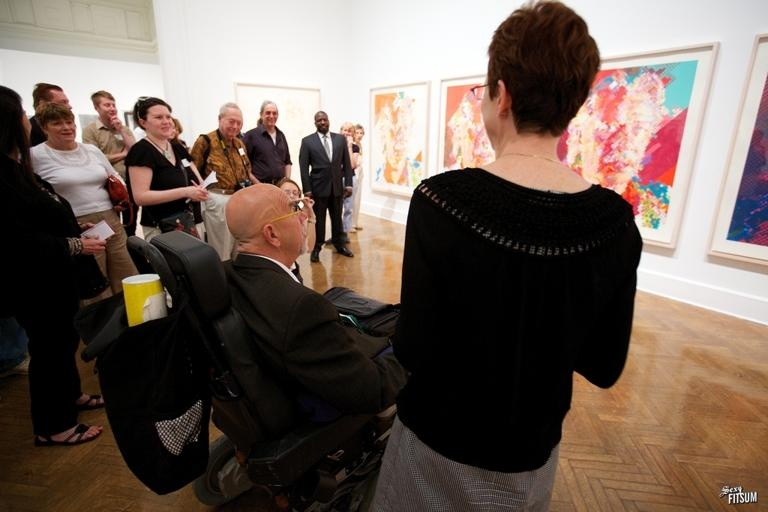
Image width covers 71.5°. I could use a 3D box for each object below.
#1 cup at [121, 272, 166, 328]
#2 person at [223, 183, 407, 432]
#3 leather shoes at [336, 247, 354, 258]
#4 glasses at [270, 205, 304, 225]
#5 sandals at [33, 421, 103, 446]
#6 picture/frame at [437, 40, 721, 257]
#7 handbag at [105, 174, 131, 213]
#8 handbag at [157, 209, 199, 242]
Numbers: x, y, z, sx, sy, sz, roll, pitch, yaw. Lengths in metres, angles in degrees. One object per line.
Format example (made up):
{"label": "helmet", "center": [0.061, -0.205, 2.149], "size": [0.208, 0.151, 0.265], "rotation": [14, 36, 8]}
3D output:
{"label": "cup", "center": [-1.382, 0.266, 3.109], "size": [0.223, 0.272, 0.270], "rotation": [-8, 23, -26]}
{"label": "person", "center": [-0.598, 0.192, 3.797], "size": [0.985, 1.474, 1.692], "rotation": [-21, 25, -36]}
{"label": "leather shoes", "center": [-0.542, -0.053, 7.400], "size": [0.310, 0.134, 0.106], "rotation": [4, 12, 37]}
{"label": "glasses", "center": [-0.627, -0.284, 3.494], "size": [0.147, 0.044, 0.145], "rotation": [-20, 14, -4]}
{"label": "sandals", "center": [-2.459, 1.413, 4.244], "size": [0.490, 0.148, 0.193], "rotation": [-3, 17, -17]}
{"label": "picture/frame", "center": [2.008, -1.336, 6.025], "size": [3.151, 2.035, 0.101], "rotation": [3, 13, -6]}
{"label": "handbag", "center": [-2.370, -0.576, 4.830], "size": [0.205, 0.289, 0.106], "rotation": [15, 20, 29]}
{"label": "handbag", "center": [-1.709, -0.267, 4.401], "size": [0.289, 0.278, 0.148], "rotation": [-26, 10, -36]}
